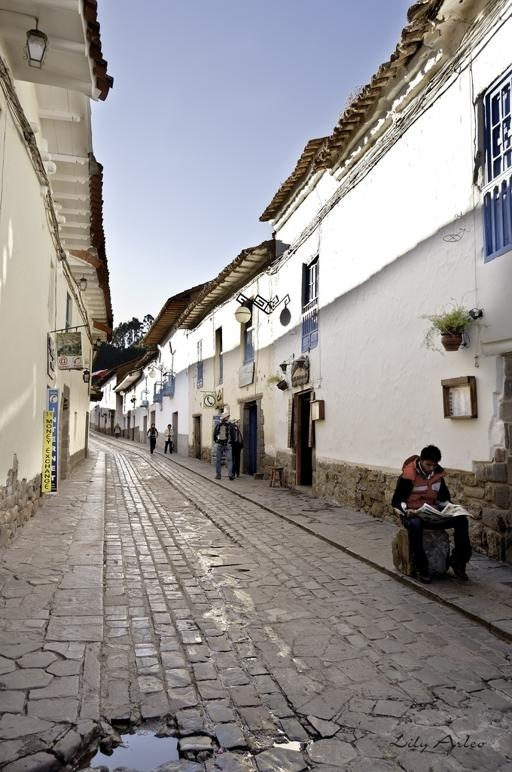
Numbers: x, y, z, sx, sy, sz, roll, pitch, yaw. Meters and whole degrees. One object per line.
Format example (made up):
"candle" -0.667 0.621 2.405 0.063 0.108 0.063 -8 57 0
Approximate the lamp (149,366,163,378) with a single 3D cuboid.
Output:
"lamp" -5.286 -0.788 28.959 0.267 0.785 0.718 -12 -25 32

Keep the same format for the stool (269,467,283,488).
"stool" 0.531 2.090 12.147 0.350 0.577 0.372 0 -1 -7

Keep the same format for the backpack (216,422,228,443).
"backpack" -0.823 1.216 13.882 0.257 0.536 0.376 1 -4 -14

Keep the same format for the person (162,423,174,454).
"person" -4.144 2.609 26.428 0.352 1.402 1.997 1 -5 -9

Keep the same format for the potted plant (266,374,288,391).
"potted plant" 0.547 -0.076 12.493 0.159 0.424 1.232 1 -5 -15

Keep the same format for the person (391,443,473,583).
"person" 1.561 1.124 4.778 0.630 1.157 0.451 -1 -4 18

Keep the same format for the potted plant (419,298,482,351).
"potted plant" 2.103 -0.646 5.750 0.422 0.349 0.444 1 -8 0

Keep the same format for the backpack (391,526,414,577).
"backpack" 1.353 1.535 4.864 0.110 0.430 0.365 6 -24 -1

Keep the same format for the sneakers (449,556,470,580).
"sneakers" 1.776 1.612 4.659 0.090 0.236 0.221 1 -5 -16

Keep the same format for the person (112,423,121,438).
"person" -11.609 3.832 45.680 0.466 1.045 1.611 2 -5 -17
